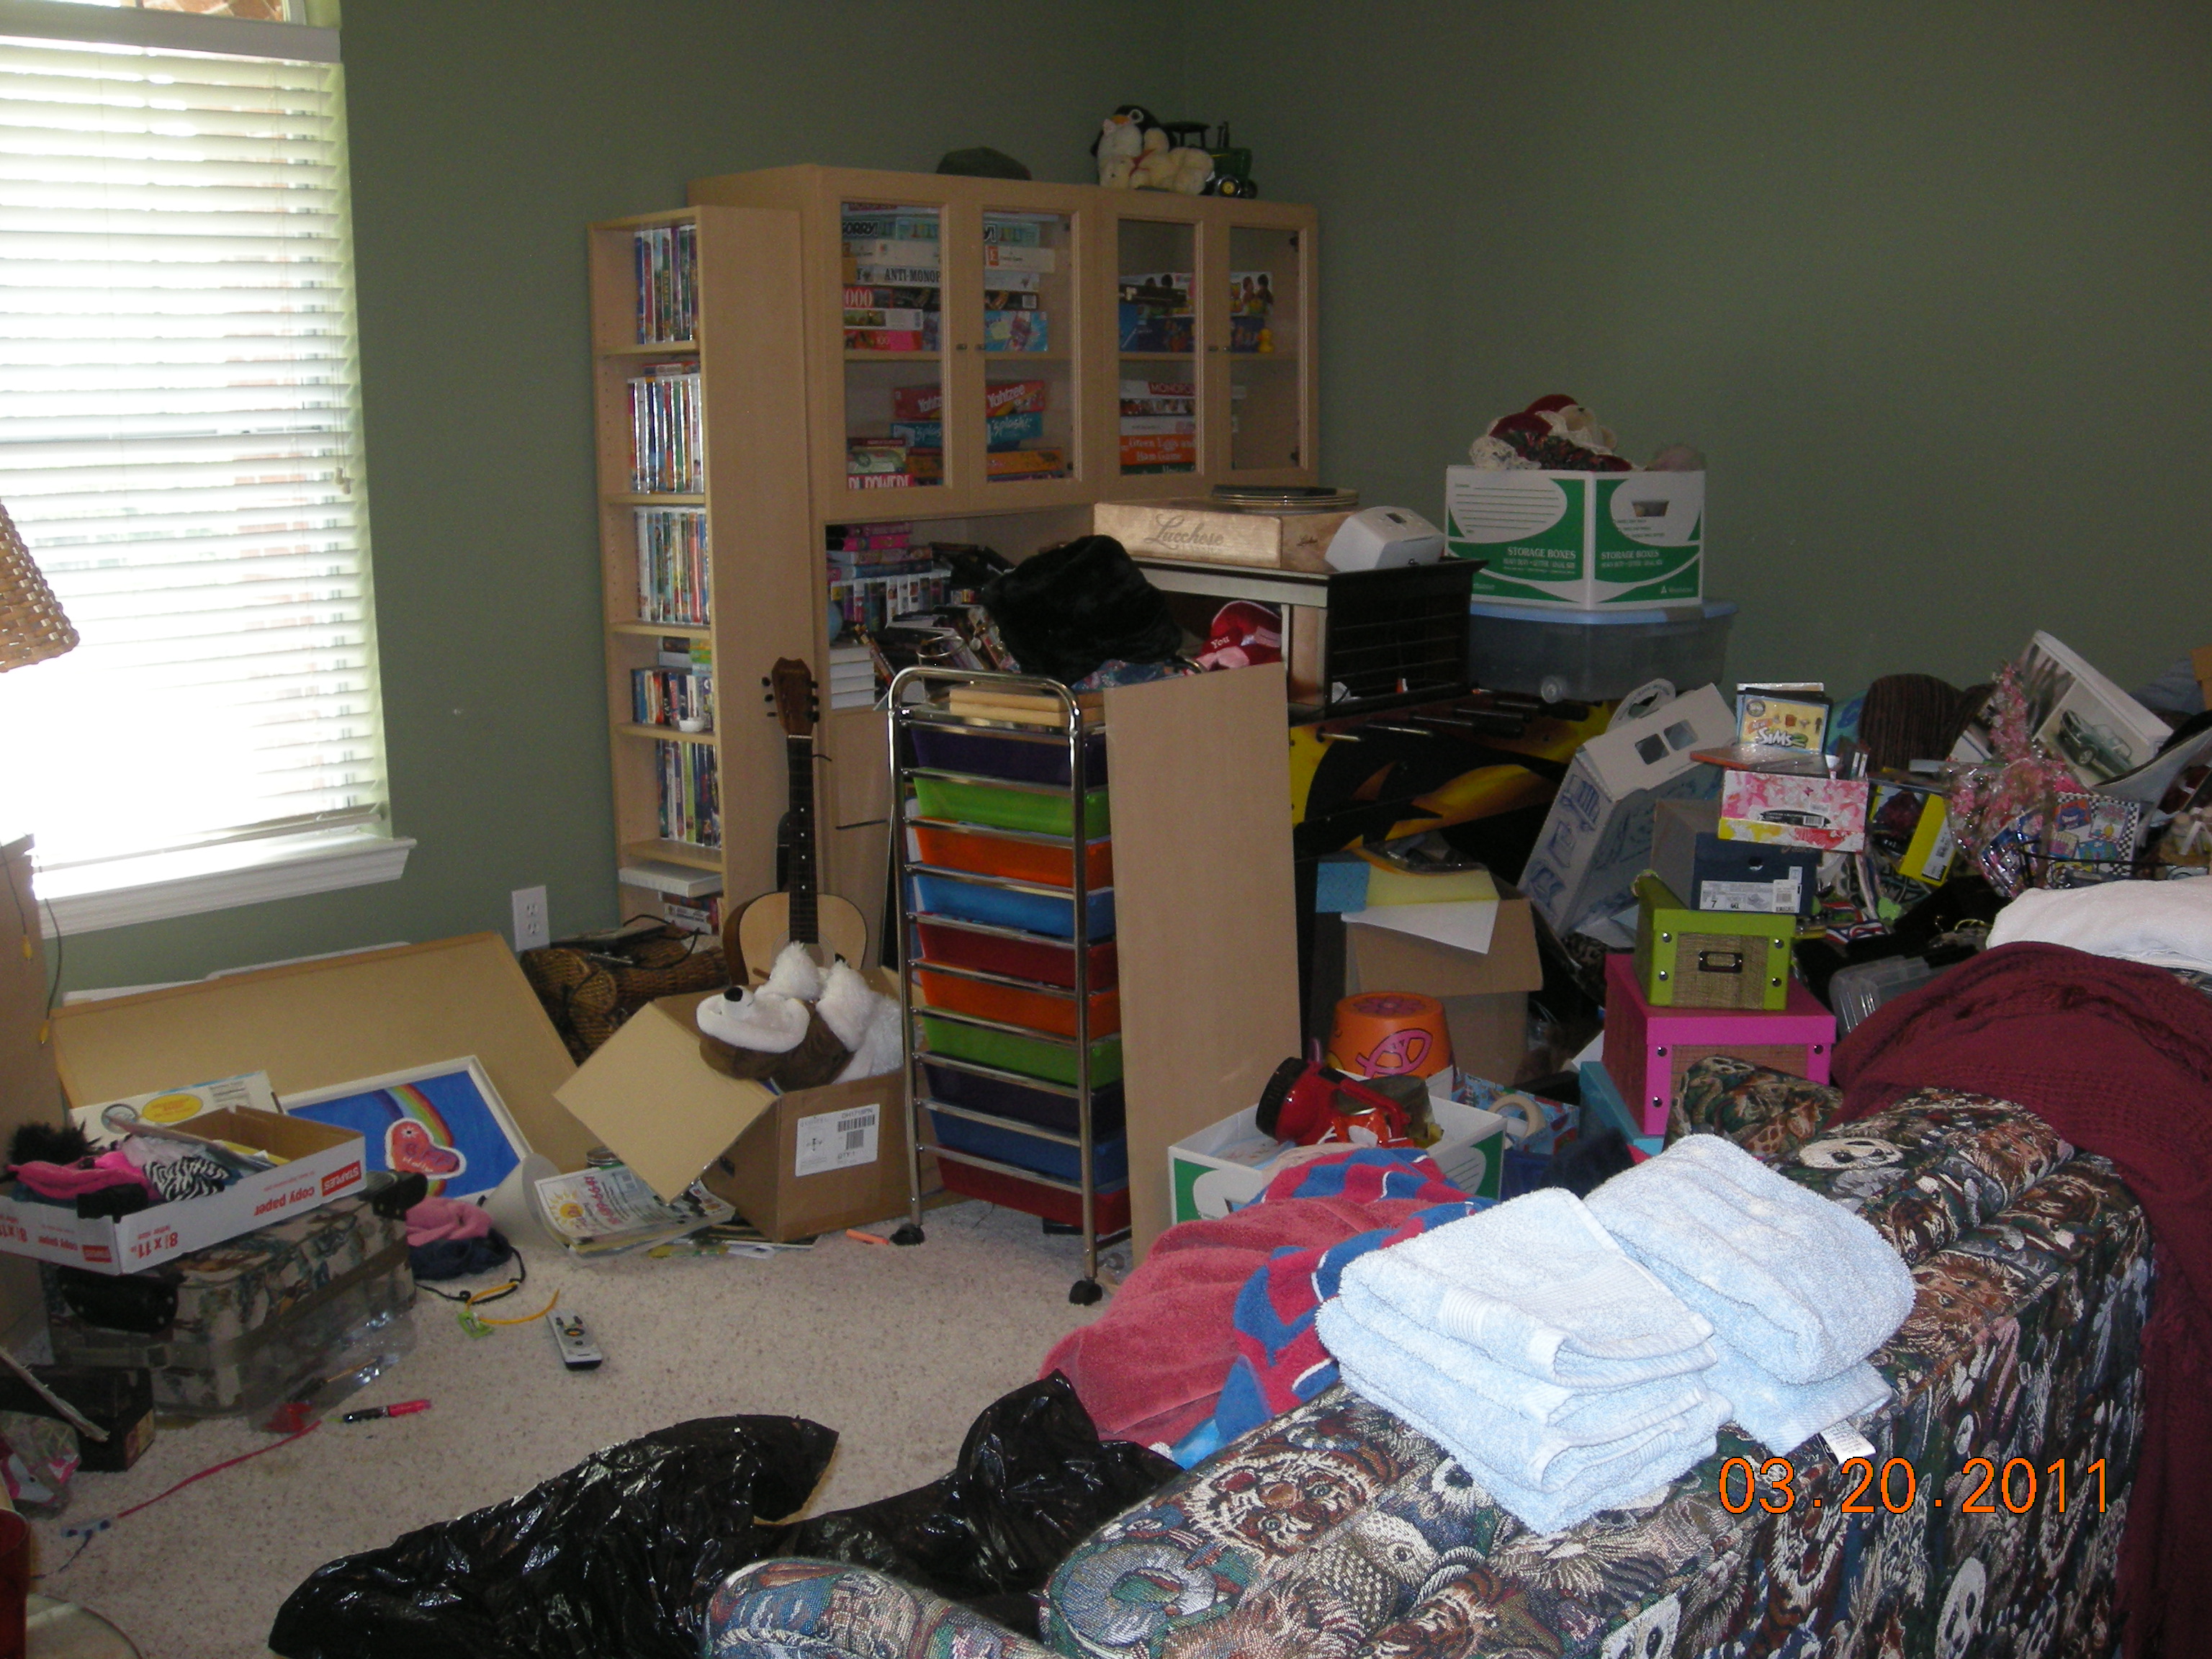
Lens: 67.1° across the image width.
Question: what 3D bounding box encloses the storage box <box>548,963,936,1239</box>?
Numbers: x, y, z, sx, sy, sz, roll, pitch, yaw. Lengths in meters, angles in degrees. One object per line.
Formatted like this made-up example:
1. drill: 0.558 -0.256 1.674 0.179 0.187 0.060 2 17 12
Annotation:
1. storage box: -0.883 0.593 3.908 0.626 0.297 0.633 12 18 32

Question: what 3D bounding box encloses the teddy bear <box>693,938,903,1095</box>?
1. teddy bear: -0.714 0.430 3.974 0.526 0.183 0.325 -1 31 -36

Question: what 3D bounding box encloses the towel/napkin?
1. towel/napkin: 0.550 0.478 1.686 0.455 0.137 0.334 -15 28 -32
